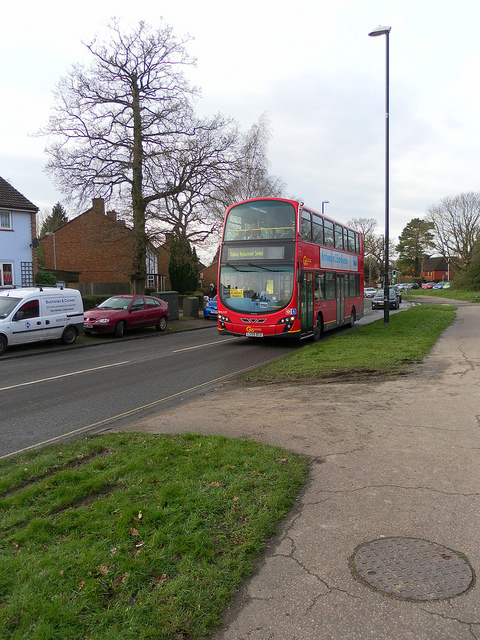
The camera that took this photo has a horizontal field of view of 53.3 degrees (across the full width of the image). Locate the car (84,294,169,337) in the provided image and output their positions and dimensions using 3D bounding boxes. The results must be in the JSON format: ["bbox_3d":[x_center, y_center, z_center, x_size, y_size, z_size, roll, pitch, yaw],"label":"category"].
[{"bbox_3d":[-4.675,-0.227,19.497,1.465,1.286,3.088,0,1,30],"label":"car"}]

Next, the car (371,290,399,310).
[{"bbox_3d":[10.973,-1.565,36.043,1.295,1.245,3.146,-1,-1,23],"label":"car"}]
